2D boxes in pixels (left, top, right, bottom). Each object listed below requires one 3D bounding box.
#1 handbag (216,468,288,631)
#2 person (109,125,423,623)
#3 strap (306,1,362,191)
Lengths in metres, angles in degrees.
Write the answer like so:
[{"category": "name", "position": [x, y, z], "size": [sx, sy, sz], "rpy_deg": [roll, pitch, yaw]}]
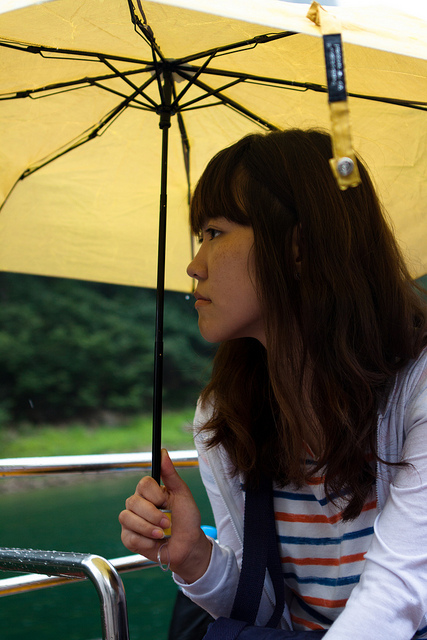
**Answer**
[{"category": "handbag", "position": [0.064, 0.539, 1.447], "size": [0.076, 0.329, 0.179], "rpy_deg": [0, -9, -22]}, {"category": "person", "position": [0.148, 0.143, 1.390], "size": [0.656, 1.001, 0.762], "rpy_deg": [-7, 2, 17]}, {"category": "strap", "position": [0.232, -0.436, 1.174], "size": [0.063, 0.283, 0.148], "rpy_deg": [-7, 2, 13]}]
